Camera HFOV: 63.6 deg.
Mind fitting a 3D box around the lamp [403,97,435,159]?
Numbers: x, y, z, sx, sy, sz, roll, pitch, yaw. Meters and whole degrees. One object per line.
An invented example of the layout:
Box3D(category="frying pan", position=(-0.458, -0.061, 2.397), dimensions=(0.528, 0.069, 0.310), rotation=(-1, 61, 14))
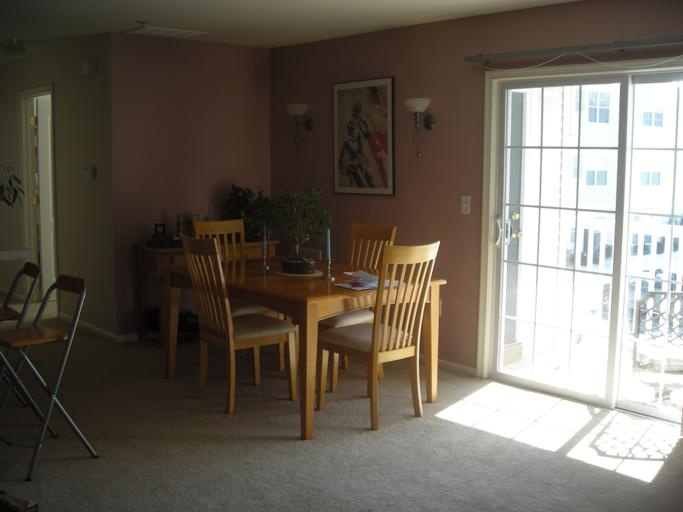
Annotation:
Box3D(category="lamp", position=(0.693, -1.134, 4.935), dimensions=(0.246, 0.532, 0.249), rotation=(-8, 13, -26))

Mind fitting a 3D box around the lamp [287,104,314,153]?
Box3D(category="lamp", position=(-0.507, -1.392, 5.956), dimensions=(0.261, 0.491, 0.393), rotation=(-8, 13, -39))

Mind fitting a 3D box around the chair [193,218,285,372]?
Box3D(category="chair", position=(-0.806, 0.522, 4.377), dimensions=(0.673, 1.177, 0.646), rotation=(-6, 10, -38))

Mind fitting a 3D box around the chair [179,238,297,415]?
Box3D(category="chair", position=(-0.798, 0.461, 4.260), dimensions=(0.772, 1.273, 0.813), rotation=(6, 9, 37))

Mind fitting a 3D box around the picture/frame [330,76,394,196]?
Box3D(category="picture/frame", position=(0.224, -1.210, 5.408), dimensions=(0.097, 1.514, 1.051), rotation=(-10, 11, -44))

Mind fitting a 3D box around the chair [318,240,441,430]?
Box3D(category="chair", position=(0.255, 0.514, 4.009), dimensions=(0.641, 1.334, 0.723), rotation=(-3, 10, -36))

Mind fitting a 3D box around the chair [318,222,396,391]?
Box3D(category="chair", position=(0.130, 0.374, 5.016), dimensions=(0.582, 0.703, 1.269), rotation=(2, -29, -21))

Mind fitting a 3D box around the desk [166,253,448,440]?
Box3D(category="desk", position=(-0.431, 0.698, 4.799), dimensions=(1.550, 1.178, 2.055), rotation=(-4, 7, -43))
